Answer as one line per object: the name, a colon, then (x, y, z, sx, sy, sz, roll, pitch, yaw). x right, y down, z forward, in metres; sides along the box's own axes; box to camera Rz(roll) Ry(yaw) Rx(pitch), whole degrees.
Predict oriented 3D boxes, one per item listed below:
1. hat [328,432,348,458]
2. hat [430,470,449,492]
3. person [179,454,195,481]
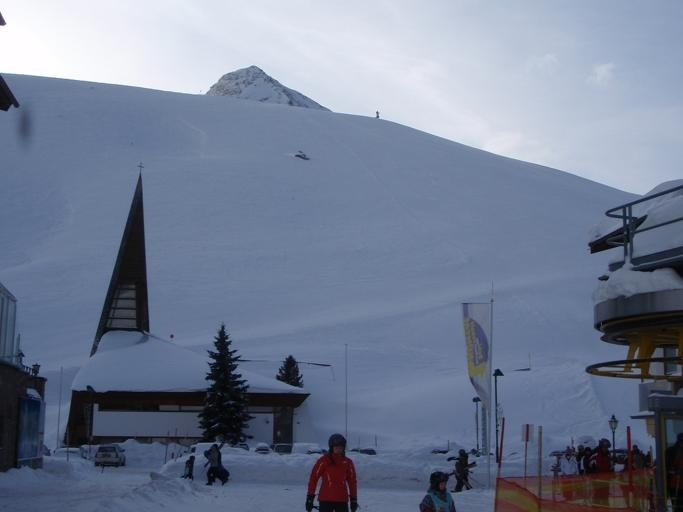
hat: (-0.176, 7.229, 37.767, 0.606, 0.835, 0.974, 0, -17, 2)
hat: (3.669, 8.482, 37.137, 0.714, 0.761, 0.639, -19, -12, 17)
person: (-8.372, 11.567, 53.725, 0.477, 1.200, 0.482, 3, -52, 1)
